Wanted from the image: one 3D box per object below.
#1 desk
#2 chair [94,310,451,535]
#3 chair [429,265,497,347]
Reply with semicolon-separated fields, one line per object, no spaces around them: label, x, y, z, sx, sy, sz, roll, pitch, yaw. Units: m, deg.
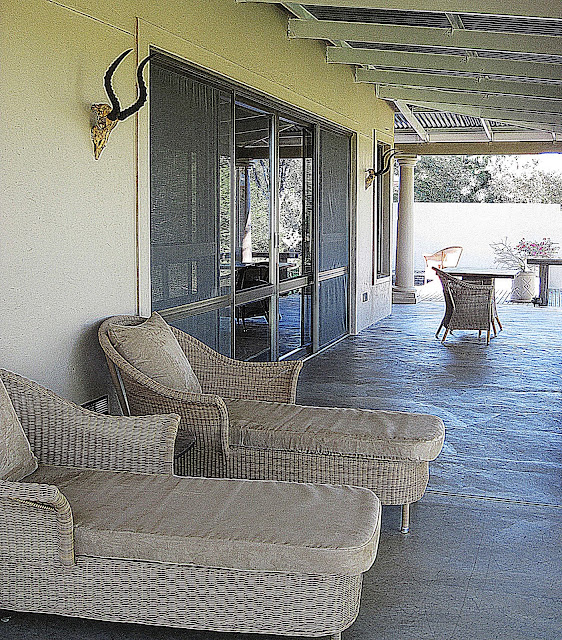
desk;2.595;-0.203;8.159;0.845;0.845;0.809;4;6;23
chair;-0.039;0.444;2.841;1.678;0.705;0.857;5;9;13
chair;2.498;-0.218;8.468;1.286;1.271;1.101;-1;8;5
